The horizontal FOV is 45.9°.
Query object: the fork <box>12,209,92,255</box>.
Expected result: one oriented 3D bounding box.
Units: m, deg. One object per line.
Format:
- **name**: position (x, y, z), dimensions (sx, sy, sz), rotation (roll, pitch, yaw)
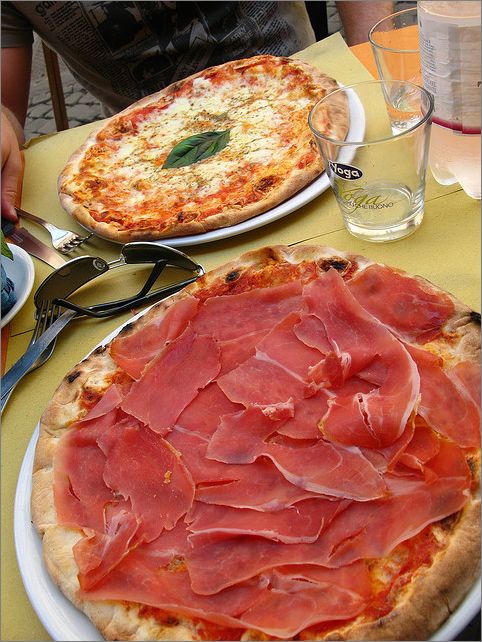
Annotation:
- **fork**: position (-0.489, -0.208, 1.423), dimensions (0.328, 0.047, 0.076), rotation (25, 59, 35)
